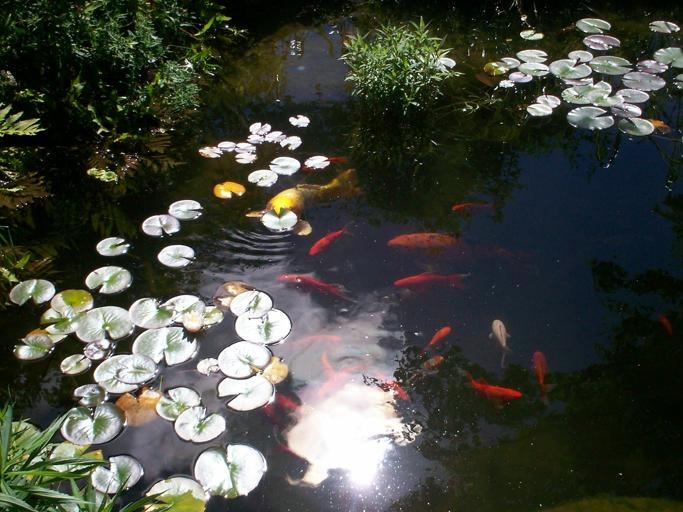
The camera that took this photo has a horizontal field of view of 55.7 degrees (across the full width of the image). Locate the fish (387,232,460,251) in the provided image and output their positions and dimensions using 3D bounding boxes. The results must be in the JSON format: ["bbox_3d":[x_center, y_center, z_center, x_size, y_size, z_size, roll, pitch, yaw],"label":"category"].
[{"bbox_3d":[0.818,-0.191,6.412,0.779,0.278,0.234,-2,6,-3],"label":"fish"}]

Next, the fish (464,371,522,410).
[{"bbox_3d":[1.305,1.165,5.643,0.562,0.183,0.255,25,83,9],"label":"fish"}]

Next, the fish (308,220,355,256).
[{"bbox_3d":[-0.085,-0.157,6.366,0.364,0.152,0.073,-39,60,-21],"label":"fish"}]

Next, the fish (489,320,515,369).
[{"bbox_3d":[1.415,0.775,5.771,0.135,0.219,0.442,-2,61,-17],"label":"fish"}]

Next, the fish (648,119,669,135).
[{"bbox_3d":[3.694,-1.506,7.462,0.201,0.088,0.287,-3,33,10],"label":"fish"}]

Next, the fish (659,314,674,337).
[{"bbox_3d":[2.944,0.631,5.836,0.090,0.035,0.152,-8,64,-1],"label":"fish"}]

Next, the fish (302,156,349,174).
[{"bbox_3d":[-0.144,-1.002,7.010,0.585,0.301,0.182,-4,15,-15],"label":"fish"}]

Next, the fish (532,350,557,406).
[{"bbox_3d":[1.747,1.059,5.592,0.124,0.202,0.450,1,79,3],"label":"fish"}]

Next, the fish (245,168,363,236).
[{"bbox_3d":[-0.300,-0.599,6.640,1.116,0.406,0.552,-29,33,-30],"label":"fish"}]
